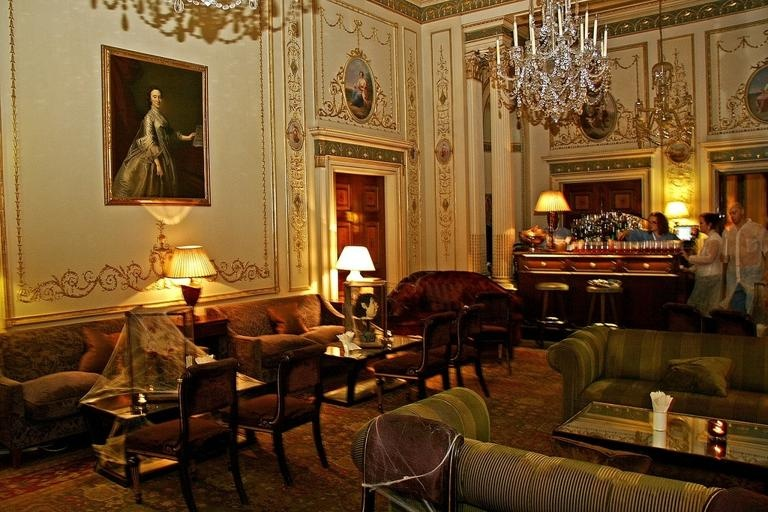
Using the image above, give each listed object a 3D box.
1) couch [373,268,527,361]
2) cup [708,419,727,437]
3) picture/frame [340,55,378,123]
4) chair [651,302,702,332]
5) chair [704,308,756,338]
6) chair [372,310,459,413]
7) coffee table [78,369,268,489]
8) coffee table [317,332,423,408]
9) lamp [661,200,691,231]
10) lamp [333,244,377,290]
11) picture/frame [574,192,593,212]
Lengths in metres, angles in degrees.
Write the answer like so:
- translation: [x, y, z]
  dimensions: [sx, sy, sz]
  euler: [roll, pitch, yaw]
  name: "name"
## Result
- translation: [0.858, 0.610, 9.457]
  dimensions: [2.105, 1.188, 1.125]
  euler: [-1, -5, 6]
  name: "couch"
- translation: [2.661, 1.369, 4.841]
  dimensions: [0.108, 0.104, 0.108]
  euler: [0, 3, 0]
  name: "cup"
- translation: [-0.394, -2.700, 9.715]
  dimensions: [0.087, 1.064, 0.686]
  euler: [2, 5, 38]
  name: "picture/frame"
- translation: [3.502, 0.729, 7.285]
  dimensions: [0.341, 0.445, 0.446]
  euler: [-9, 10, -30]
  name: "chair"
- translation: [3.589, 0.683, 6.291]
  dimensions: [0.315, 0.357, 0.276]
  euler: [-10, 9, -31]
  name: "chair"
- translation: [0.430, 1.099, 7.250]
  dimensions: [1.048, 1.471, 1.054]
  euler: [2, 1, 28]
  name: "chair"
- translation: [-2.092, 1.433, 5.484]
  dimensions: [0.841, 0.838, 1.675]
  euler: [0, 0, 35]
  name: "coffee table"
- translation: [-0.315, 1.239, 7.049]
  dimensions: [0.813, 0.433, 1.194]
  euler: [0, 3, 33]
  name: "coffee table"
- translation: [5.454, -0.764, 11.316]
  dimensions: [0.502, 0.578, 0.489]
  euler: [-5, 7, -9]
  name: "lamp"
- translation: [-0.387, 0.122, 8.530]
  dimensions: [0.514, 0.503, 0.486]
  euler: [-5, 8, -31]
  name: "lamp"
- translation: [4.118, -1.148, 12.584]
  dimensions: [0.340, 0.351, 0.235]
  euler: [-1, -1, 42]
  name: "picture/frame"
